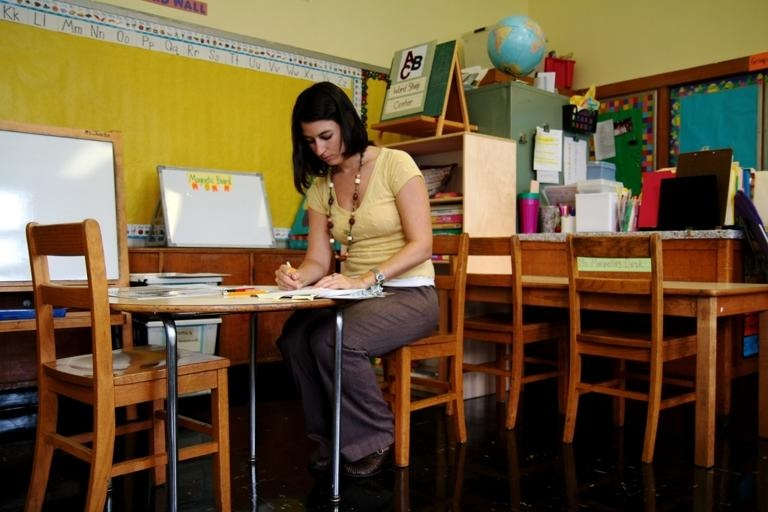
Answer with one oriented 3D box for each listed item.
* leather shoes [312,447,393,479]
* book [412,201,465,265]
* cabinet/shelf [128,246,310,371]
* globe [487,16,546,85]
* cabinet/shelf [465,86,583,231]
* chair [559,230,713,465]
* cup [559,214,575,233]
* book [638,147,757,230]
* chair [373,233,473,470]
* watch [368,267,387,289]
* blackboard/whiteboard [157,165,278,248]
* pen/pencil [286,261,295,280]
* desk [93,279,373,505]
[{"bbox_3d":[-0.126,1.030,2.984,0.426,0.167,0.168,8,-5,-37],"label":"leather shoes"},{"bbox_3d":[0.323,-0.138,3.428,0.448,0.310,0.244,4,7,42],"label":"book"},{"bbox_3d":[-0.969,0.279,3.330,0.983,0.564,0.309,-3,7,-32],"label":"cabinet/shelf"},{"bbox_3d":[1.046,-1.717,4.969,0.493,0.555,0.478,2,4,7],"label":"globe"},{"bbox_3d":[1.171,-0.932,4.947,0.881,1.527,0.861,-3,3,-39],"label":"cabinet/shelf"},{"bbox_3d":[1.483,0.481,3.322,0.789,1.137,0.820,1,-5,40],"label":"chair"},{"bbox_3d":[1.328,-0.232,4.277,0.124,0.157,0.120,2,4,0],"label":"cup"},{"bbox_3d":[2.023,-0.386,3.982,0.583,0.610,0.714,-3,1,-39],"label":"book"},{"bbox_3d":[0.177,0.470,3.431,0.623,1.165,0.664,-3,-1,-28],"label":"chair"},{"bbox_3d":[-0.038,0.106,2.749,0.064,0.092,0.089,-5,7,-29],"label":"watch"},{"bbox_3d":[-1.337,-0.370,4.587,0.736,0.492,0.051,3,-24,-34],"label":"blackboard/whiteboard"},{"bbox_3d":[-0.490,0.074,3.062,0.019,0.072,0.022,-12,-14,-5],"label":"pen/pencil"},{"bbox_3d":[-0.652,0.582,2.690,1.096,0.868,1.227,-2,3,-35],"label":"desk"}]
